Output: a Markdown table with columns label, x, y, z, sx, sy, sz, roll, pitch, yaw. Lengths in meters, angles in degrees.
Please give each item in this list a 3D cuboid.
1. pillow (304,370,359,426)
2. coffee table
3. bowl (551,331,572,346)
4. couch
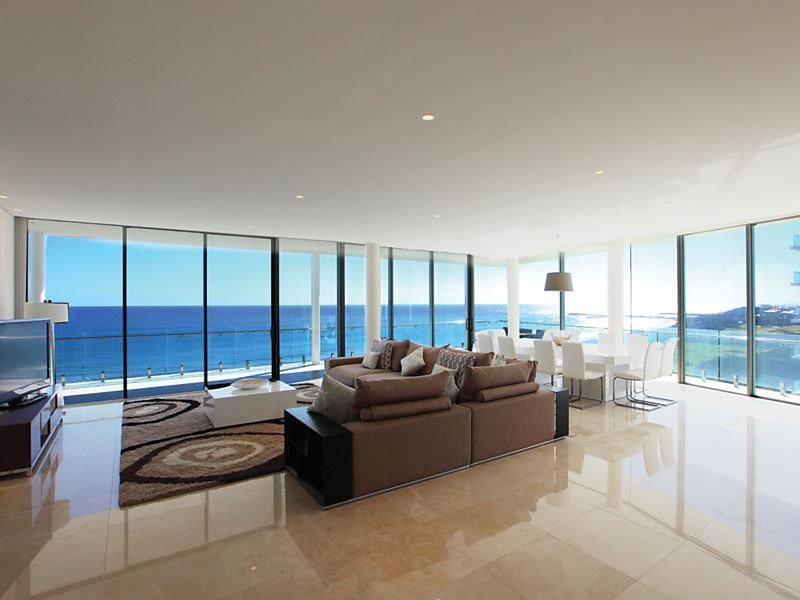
| label | x | y | z | sx | sy | sz | roll | pitch | yaw |
| --- | --- | --- | --- | --- | --- | --- | --- | --- | --- |
| pillow | -0.621 | 0.931 | 4.785 | 0.244 | 0.318 | 0.508 | -9 | 13 | -41 |
| coffee table | -1.897 | 1.302 | 6.415 | 0.675 | 0.250 | 0.708 | -1 | 3 | -38 |
| bowl | 2.752 | 0.645 | 8.791 | 0.325 | 0.158 | 0.352 | 0 | 2 | 0 |
| couch | 0.250 | 1.160 | 5.103 | 2.538 | 1.018 | 0.702 | -5 | 11 | -28 |
